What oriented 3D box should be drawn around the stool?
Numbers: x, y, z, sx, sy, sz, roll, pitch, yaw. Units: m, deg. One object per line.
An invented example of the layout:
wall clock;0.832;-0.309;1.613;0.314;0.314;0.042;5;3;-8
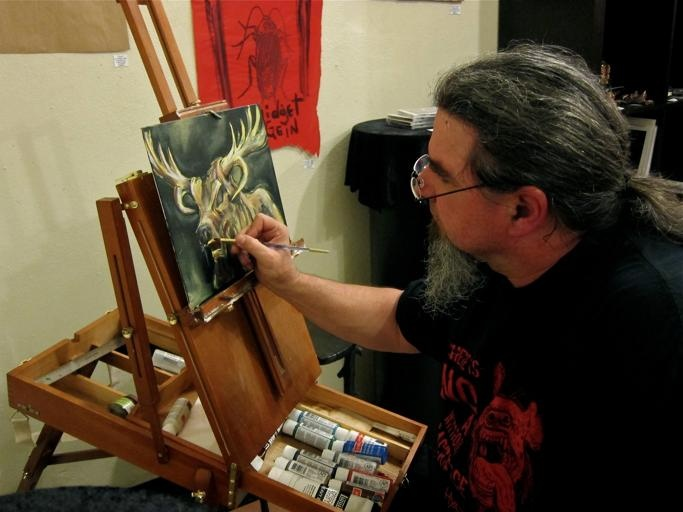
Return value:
stool;-0.036;0.459;2.416;0.205;0.309;0.254;-3;24;-35
